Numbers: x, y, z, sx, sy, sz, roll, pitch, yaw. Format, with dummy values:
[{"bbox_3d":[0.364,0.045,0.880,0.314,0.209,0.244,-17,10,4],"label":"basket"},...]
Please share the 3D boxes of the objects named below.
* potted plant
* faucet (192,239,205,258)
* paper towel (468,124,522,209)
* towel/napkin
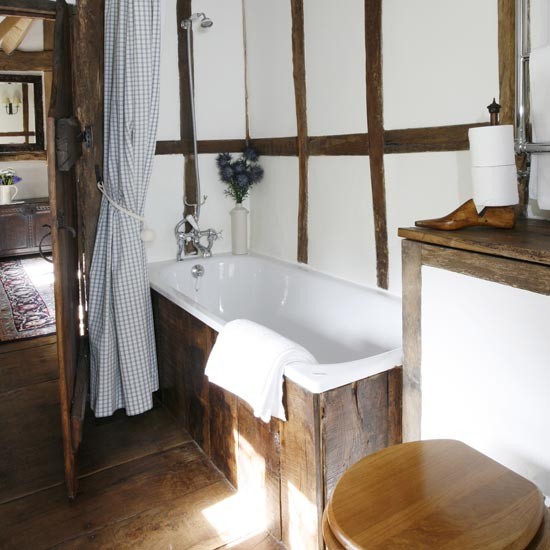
[{"bbox_3d":[-0.221,-0.475,3.246,0.281,0.679,0.265,-5,13,-23],"label":"potted plant"},{"bbox_3d":[-0.476,-0.169,3.165,0.034,0.174,0.077,-13,16,-29],"label":"faucet"},{"bbox_3d":[0.599,-0.277,1.395,0.098,0.228,0.120,0,-8,3],"label":"paper towel"},{"bbox_3d":[-0.083,0.304,1.743,0.250,0.145,0.367,-29,47,-33],"label":"towel/napkin"}]
